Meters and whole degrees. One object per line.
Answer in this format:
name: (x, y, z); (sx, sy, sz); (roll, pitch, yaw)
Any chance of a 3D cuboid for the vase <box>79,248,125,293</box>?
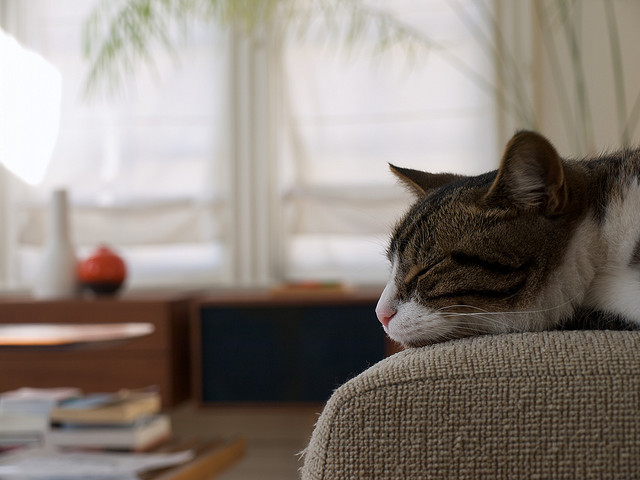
vase: (-0.749, 0.091, 2.593); (0.142, 0.171, 0.142); (6, 16, 14)
